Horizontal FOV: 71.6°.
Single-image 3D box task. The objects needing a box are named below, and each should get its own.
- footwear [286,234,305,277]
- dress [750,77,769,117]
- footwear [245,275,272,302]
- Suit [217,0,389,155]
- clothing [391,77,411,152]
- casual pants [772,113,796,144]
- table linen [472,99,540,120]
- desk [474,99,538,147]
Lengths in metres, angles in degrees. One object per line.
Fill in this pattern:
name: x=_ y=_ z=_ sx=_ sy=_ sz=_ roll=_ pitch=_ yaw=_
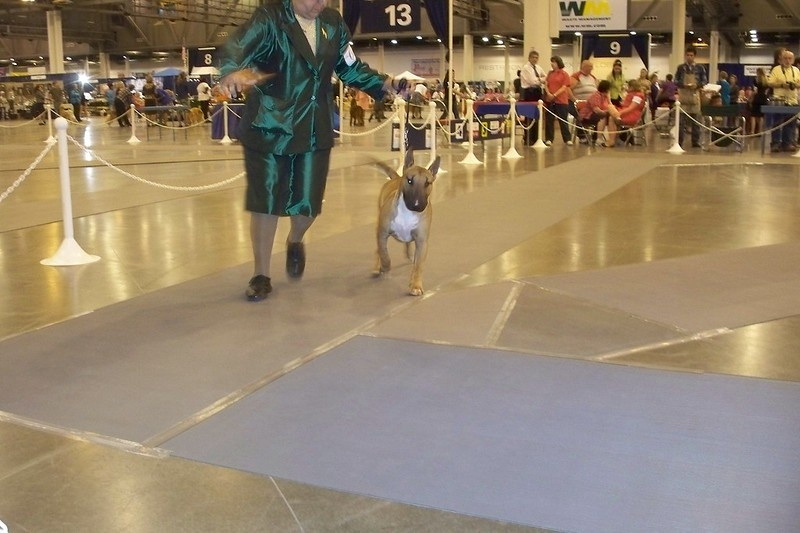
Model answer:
footwear: x=-0.851 y=-0.086 z=4.536 sx=0.112 sy=0.328 sz=0.130 roll=-1 pitch=9 yaw=-3
dress: x=9.509 y=-4.450 z=14.641 sx=0.351 sy=0.943 sz=0.860 roll=7 pitch=17 yaw=31
footwear: x=-1.058 y=0.167 z=4.142 sx=0.108 sy=0.110 sz=0.263 roll=0 pitch=5 yaw=2
Suit: x=-0.782 y=-1.410 z=4.154 sx=1.296 sy=1.104 sz=0.358 roll=-15 pitch=20 yaw=-43
clothing: x=0.070 y=-1.556 z=5.623 sx=0.190 sy=0.739 sz=0.189 roll=-4 pitch=0 yaw=34
casual pants: x=9.500 y=-3.441 z=13.720 sx=0.438 sy=0.423 sz=1.649 roll=15 pitch=9 yaw=25
table linen: x=3.111 y=-4.562 z=16.123 sx=1.615 sy=0.384 sz=1.639 roll=4 pitch=6 yaw=21
desk: x=3.179 y=-4.038 z=16.528 sx=1.718 sy=1.265 sz=1.764 roll=3 pitch=21 yaw=10
